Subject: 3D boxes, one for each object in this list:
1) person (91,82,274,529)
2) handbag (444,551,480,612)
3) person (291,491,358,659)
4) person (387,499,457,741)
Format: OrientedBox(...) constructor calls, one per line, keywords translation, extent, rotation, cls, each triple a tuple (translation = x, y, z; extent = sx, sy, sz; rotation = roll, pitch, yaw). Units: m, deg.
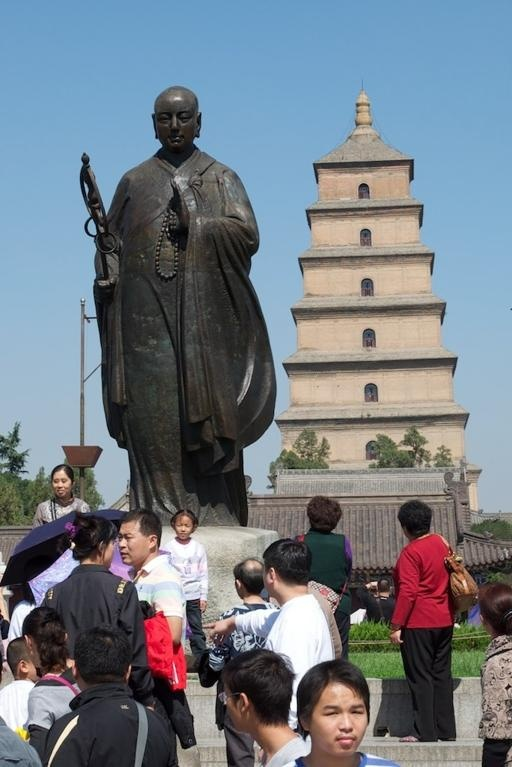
OrientedBox(translation=(-0.442, -0.473, 7.940), extent=(1.108, 2.741, 0.755), rotation=(-3, -5, -7), cls="person")
OrientedBox(translation=(1.098, 1.055, 6.816), extent=(0.106, 0.215, 0.194), rotation=(-16, 21, 15), cls="handbag")
OrientedBox(translation=(0.424, 1.140, 6.803), extent=(0.325, 1.010, 0.262), rotation=(-7, -9, 40), cls="person")
OrientedBox(translation=(0.892, 1.268, 6.876), extent=(0.387, 1.238, 0.518), rotation=(-4, -8, 37), cls="person")
